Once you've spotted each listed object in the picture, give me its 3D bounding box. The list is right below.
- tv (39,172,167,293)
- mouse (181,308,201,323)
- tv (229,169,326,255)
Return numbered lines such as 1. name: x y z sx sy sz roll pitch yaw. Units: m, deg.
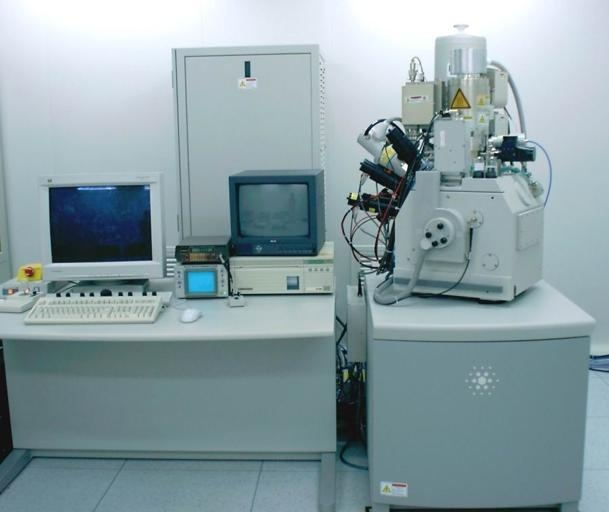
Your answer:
1. tv: -0.876 -0.124 2.713 0.690 0.729 0.428 -1 3 0
2. mouse: -0.478 0.250 2.296 0.077 0.036 0.096 -6 13 -9
3. tv: -0.133 -0.193 2.522 0.350 0.376 0.385 0 6 7
